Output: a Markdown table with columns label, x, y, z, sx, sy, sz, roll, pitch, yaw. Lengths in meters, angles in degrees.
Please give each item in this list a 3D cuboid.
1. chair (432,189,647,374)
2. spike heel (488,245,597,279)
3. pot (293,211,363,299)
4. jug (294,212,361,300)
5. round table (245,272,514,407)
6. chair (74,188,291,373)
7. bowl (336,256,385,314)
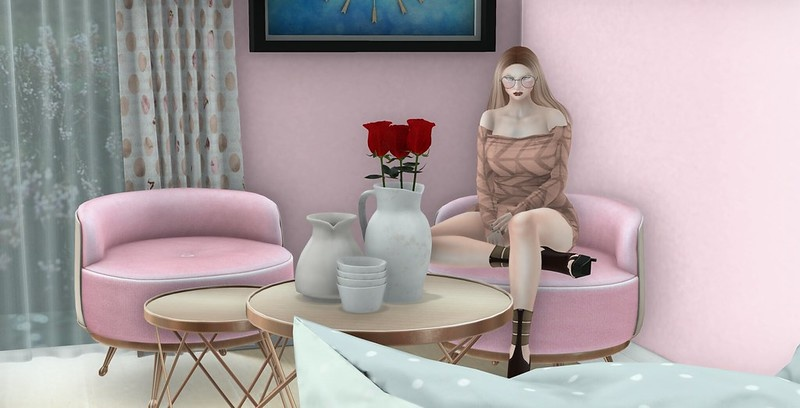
| label | x | y | z | sx | sy | sz | roll | pitch | yaw |
| --- | --- | --- | --- | --- | --- | --- | --- | --- | --- |
| chair | 1.191 | 0.416 | 4.280 | 1.477 | 0.937 | 1.361 | 2 | 5 | 20 |
| spike heel | 0.876 | 0.373 | 3.843 | 0.815 | 0.216 | 0.227 | 5 | 47 | 8 |
| pot | -0.424 | 0.285 | 3.245 | 0.502 | 0.461 | 0.481 | 1 | -1 | 0 |
| jug | -0.401 | 0.297 | 3.399 | 0.471 | 0.441 | 0.447 | 4 | 7 | 18 |
| round table | -0.042 | 0.612 | 3.205 | 1.090 | 0.510 | 0.993 | 1 | 7 | 0 |
| chair | -1.710 | 0.343 | 4.429 | 1.664 | 1.176 | 1.528 | -3 | 5 | -34 |
| bowl | -0.213 | 0.445 | 3.285 | 0.302 | 0.254 | 0.312 | 0 | -2 | 0 |
